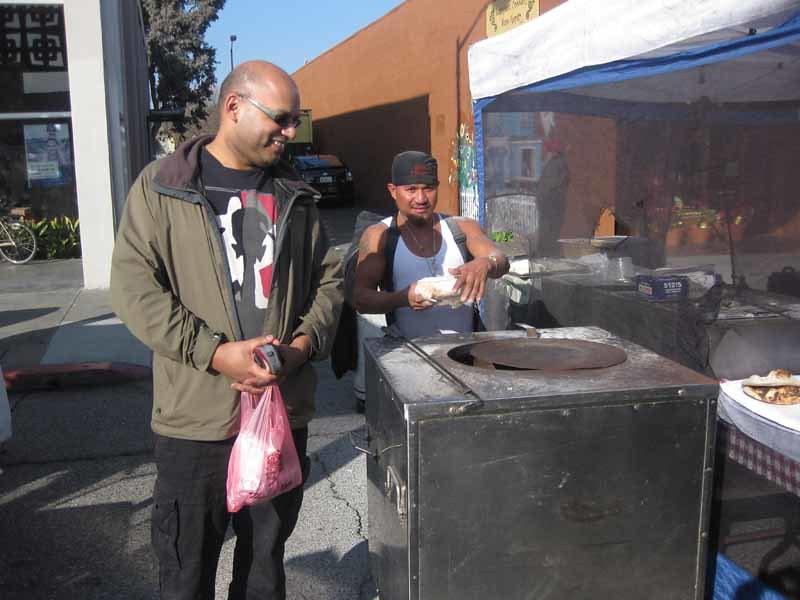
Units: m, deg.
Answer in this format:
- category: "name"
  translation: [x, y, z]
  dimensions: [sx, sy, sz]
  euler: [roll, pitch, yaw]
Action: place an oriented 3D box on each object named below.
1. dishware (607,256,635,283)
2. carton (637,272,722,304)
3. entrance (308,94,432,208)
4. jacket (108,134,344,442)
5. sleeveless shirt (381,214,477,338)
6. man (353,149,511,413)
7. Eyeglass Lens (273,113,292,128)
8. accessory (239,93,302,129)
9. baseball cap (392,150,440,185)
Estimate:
- category: "dishware"
  translation: [1.597, -0.224, 4.426]
  dimensions: [0.192, 0.153, 0.225]
  euler: [6, 15, 25]
- category: "carton"
  translation: [1.743, -0.088, 3.845]
  dimensions: [0.305, 0.123, 0.219]
  euler: [-1, 5, -2]
- category: "entrance"
  translation: [-0.204, -4.569, 18.163]
  dimensions: [2.333, 2.050, 4.128]
  euler: [-9, 18, -18]
- category: "jacket"
  translation: [-0.631, -0.033, 2.326]
  dimensions: [0.833, 1.093, 0.391]
  euler: [-5, 14, -22]
- category: "sleeveless shirt"
  translation: [0.163, -0.077, 3.313]
  dimensions: [0.521, 0.774, 0.428]
  euler: [0, -22, -11]
- category: "man"
  translation: [0.139, 0.039, 3.403]
  dimensions: [0.788, 1.658, 1.424]
  euler: [-1, 13, -4]
- category: "Eyeglass Lens"
  translation: [-0.423, -0.644, 2.222]
  dimensions: [0.046, 0.016, 0.045]
  euler: [22, 13, 42]
- category: "accessory"
  translation: [-0.453, -0.687, 2.228]
  dimensions: [0.145, 0.045, 0.143]
  euler: [35, 15, 0]
- category: "baseball cap"
  translation: [0.072, -0.651, 3.142]
  dimensions: [0.179, 0.123, 0.190]
  euler: [-2, 9, -2]
